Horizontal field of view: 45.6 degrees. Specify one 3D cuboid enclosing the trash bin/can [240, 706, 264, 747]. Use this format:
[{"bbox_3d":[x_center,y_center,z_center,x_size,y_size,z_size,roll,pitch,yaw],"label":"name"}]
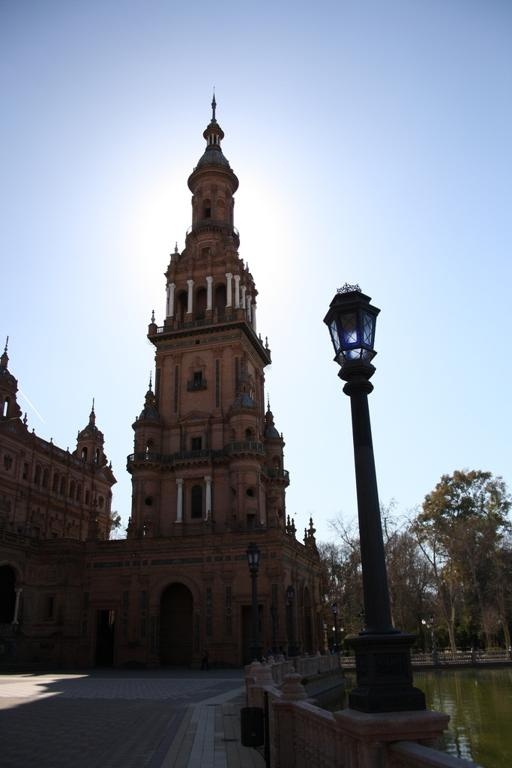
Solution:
[{"bbox_3d":[-0.054,5.375,9.515,0.359,0.589,0.398,-3,-20,-4],"label":"trash bin/can"}]
